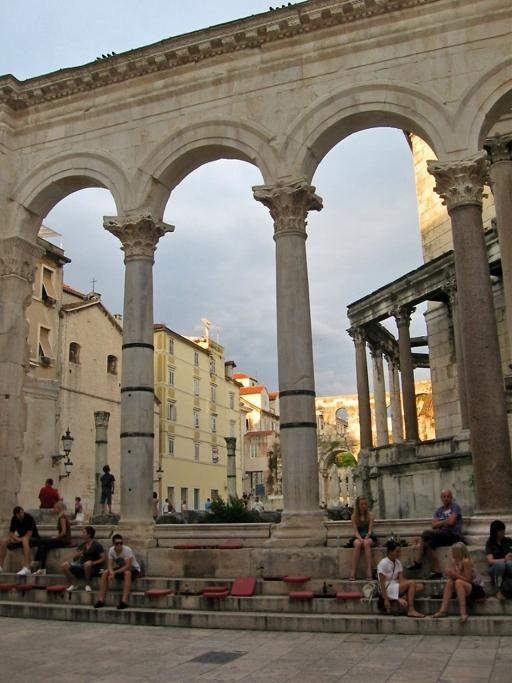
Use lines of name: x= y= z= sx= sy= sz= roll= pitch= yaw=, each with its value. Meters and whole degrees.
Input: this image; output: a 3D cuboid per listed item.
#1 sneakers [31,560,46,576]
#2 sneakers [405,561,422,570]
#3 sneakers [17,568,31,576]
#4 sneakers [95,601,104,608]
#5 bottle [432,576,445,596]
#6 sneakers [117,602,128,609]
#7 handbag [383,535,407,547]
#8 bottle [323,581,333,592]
sneakers: x=-3.526 y=3.718 z=12.501 sx=0.315 sy=0.192 sz=0.107 roll=-7 pitch=-33 yaw=22
sneakers: x=2.123 y=3.006 z=10.304 sx=0.269 sy=0.098 sz=0.083 roll=1 pitch=-7 yaw=10
sneakers: x=-3.735 y=3.703 z=12.351 sx=0.230 sy=0.080 sz=0.110 roll=4 pitch=-19 yaw=-12
sneakers: x=-2.206 y=3.679 z=10.783 sx=0.129 sy=0.087 sz=0.220 roll=-1 pitch=-13 yaw=-8
bottle: x=2.312 y=3.109 z=9.742 sx=0.175 sy=0.281 sz=0.164 roll=2 pitch=-17 yaw=1
sneakers: x=-1.839 y=3.637 z=10.598 sx=0.098 sy=0.070 sz=0.174 roll=-3 pitch=-23 yaw=6
handbag: x=1.924 y=2.707 z=10.475 sx=0.375 sy=0.173 sz=0.434 roll=0 pitch=-5 yaw=10
bottle: x=0.960 y=3.319 z=10.367 sx=0.148 sy=0.136 sz=0.035 roll=-7 pitch=-15 yaw=16
